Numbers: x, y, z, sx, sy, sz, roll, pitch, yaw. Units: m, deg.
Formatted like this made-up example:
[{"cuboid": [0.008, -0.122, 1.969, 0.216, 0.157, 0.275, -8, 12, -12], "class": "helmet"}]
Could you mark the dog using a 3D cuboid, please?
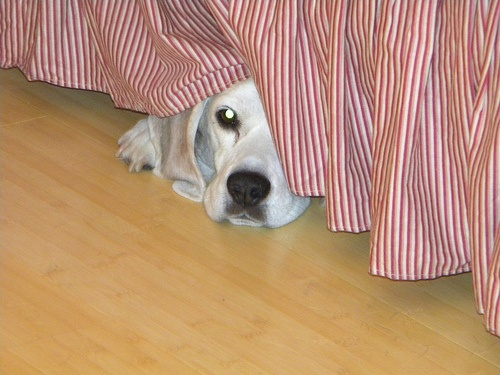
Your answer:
[{"cuboid": [-0.172, -0.165, 2.221, 0.794, 0.445, 0.398, 25, 46, 31], "class": "dog"}]
